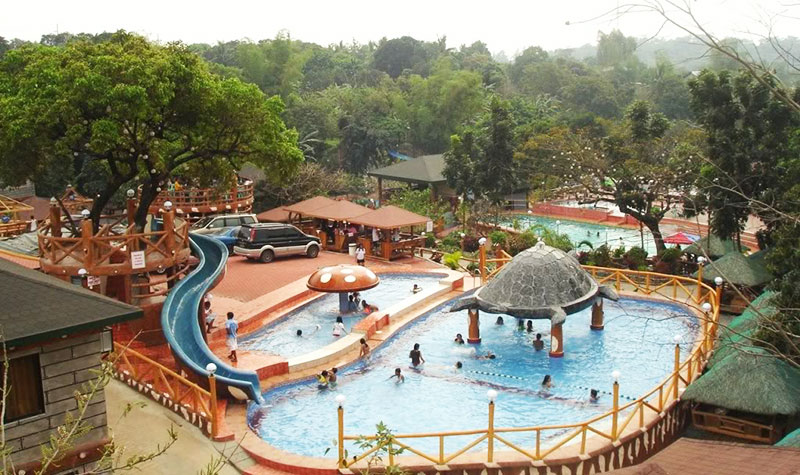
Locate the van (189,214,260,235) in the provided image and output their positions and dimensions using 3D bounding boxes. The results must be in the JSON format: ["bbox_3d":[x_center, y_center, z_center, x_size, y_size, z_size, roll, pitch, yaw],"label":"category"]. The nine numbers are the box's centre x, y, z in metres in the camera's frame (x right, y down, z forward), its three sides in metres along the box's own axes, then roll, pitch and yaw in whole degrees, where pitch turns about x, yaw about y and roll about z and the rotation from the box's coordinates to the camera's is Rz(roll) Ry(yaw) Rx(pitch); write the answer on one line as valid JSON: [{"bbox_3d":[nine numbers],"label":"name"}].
[{"bbox_3d":[-11.717,-0.907,41.602,3.081,1.234,1.612,-1,3,-23],"label":"van"}]

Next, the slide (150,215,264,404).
[{"bbox_3d":[-8.443,2.888,27.234,3.384,1.126,14.276,3,23,-20],"label":"slide"}]
